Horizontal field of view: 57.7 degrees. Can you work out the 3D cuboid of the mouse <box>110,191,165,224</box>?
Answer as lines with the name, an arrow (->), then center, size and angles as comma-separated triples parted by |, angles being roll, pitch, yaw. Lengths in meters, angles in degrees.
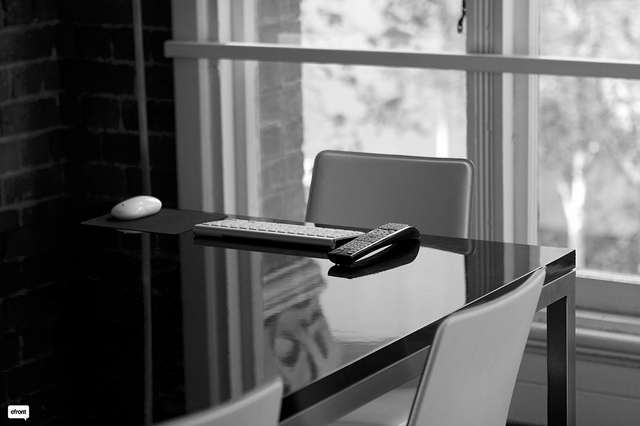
mouse -> -0.626, -0.023, 2.015 | 0.133, 0.055, 0.186 | 11, 19, 36

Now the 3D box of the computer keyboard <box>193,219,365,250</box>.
computer keyboard -> -0.135, 0.052, 1.627 | 0.505, 0.044, 0.170 | 4, 10, 34

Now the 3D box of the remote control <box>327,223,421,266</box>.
remote control -> 0.140, 0.079, 1.482 | 0.090, 0.057, 0.277 | 3, 15, 45

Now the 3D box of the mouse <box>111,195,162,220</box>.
mouse -> -0.555, -0.024, 1.779 | 0.074, 0.034, 0.116 | 18, 24, 39
